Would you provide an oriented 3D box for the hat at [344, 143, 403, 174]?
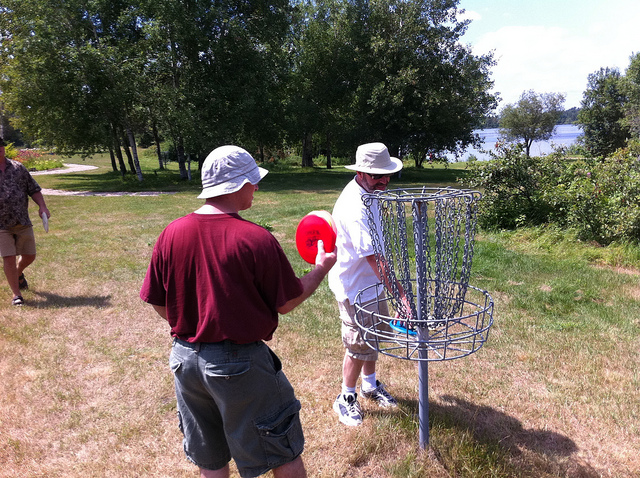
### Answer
[{"bbox_3d":[0.736,-1.207,8.831,0.562,0.241,0.534,16,30,38],"label":"hat"}]

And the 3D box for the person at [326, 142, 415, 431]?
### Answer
[{"bbox_3d":[0.671,0.746,8.851,1.098,4.234,1.589,-2,11,-1],"label":"person"}]

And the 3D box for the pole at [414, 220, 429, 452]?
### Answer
[{"bbox_3d":[1.403,1.433,8.236,0.225,3.382,0.481,1,11,10],"label":"pole"}]
